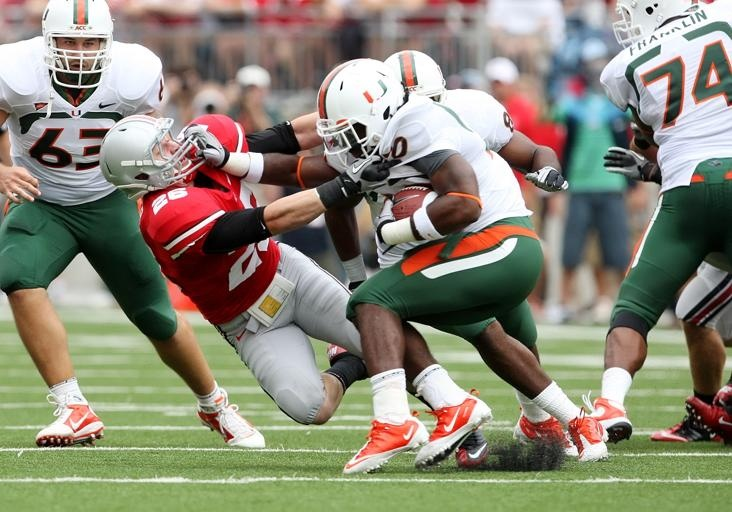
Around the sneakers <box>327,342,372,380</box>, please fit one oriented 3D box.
[{"bbox_3d":[-0.106,0.562,4.051,0.219,0.085,0.156,21,-25,-9],"label":"sneakers"}]

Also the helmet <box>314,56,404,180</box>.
[{"bbox_3d":[-0.011,-0.607,3.585,0.393,0.512,0.346,0,17,2],"label":"helmet"}]

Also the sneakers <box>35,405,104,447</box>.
[{"bbox_3d":[-1.516,0.888,4.113,0.312,0.231,0.221,-9,18,-26],"label":"sneakers"}]

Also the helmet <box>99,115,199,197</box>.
[{"bbox_3d":[-0.990,-0.455,3.702,0.459,0.274,0.317,-2,18,1],"label":"helmet"}]

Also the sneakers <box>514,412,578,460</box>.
[{"bbox_3d":[0.822,0.846,3.806,0.321,0.132,0.109,-2,20,47],"label":"sneakers"}]

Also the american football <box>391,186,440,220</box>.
[{"bbox_3d":[0.194,-0.236,3.477,0.182,0.165,0.129,-19,-16,-14],"label":"american football"}]

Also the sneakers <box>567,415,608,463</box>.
[{"bbox_3d":[0.988,0.798,3.655,0.149,0.096,0.279,-8,25,-12],"label":"sneakers"}]

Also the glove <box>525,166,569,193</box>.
[{"bbox_3d":[0.833,-0.347,3.717,0.154,0.071,0.122,9,-13,45],"label":"glove"}]

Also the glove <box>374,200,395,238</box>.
[{"bbox_3d":[0.091,-0.166,3.558,0.065,0.150,0.101,-27,-48,34],"label":"glove"}]

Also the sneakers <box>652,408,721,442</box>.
[{"bbox_3d":[1.735,0.903,4.227,0.441,0.180,0.141,5,-6,5],"label":"sneakers"}]

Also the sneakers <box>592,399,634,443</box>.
[{"bbox_3d":[1.140,0.762,3.766,0.142,0.102,0.301,24,8,0],"label":"sneakers"}]

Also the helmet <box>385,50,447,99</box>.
[{"bbox_3d":[0.243,-0.903,3.939,0.292,0.213,0.227,4,31,1],"label":"helmet"}]
